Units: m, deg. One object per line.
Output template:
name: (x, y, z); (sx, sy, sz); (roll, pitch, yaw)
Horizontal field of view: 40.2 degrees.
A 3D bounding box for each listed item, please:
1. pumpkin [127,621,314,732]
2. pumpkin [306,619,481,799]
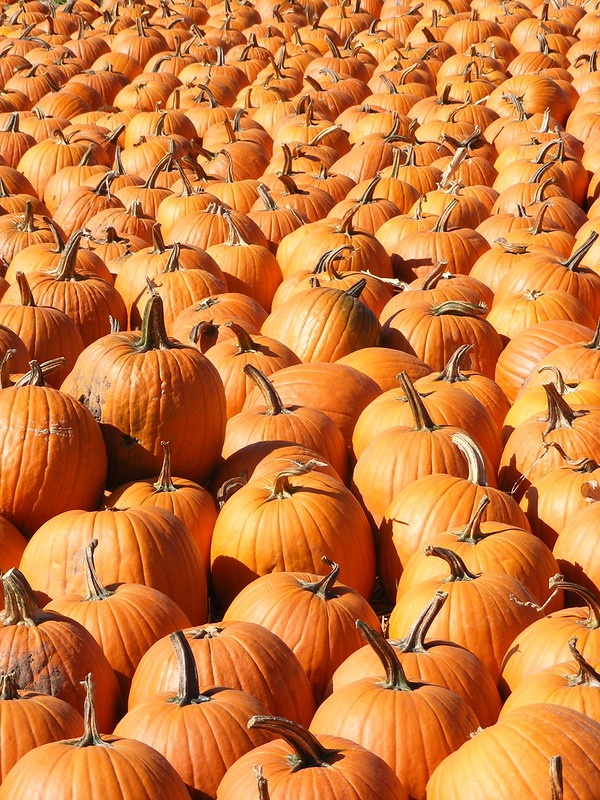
pumpkin: (-0.223, 0.701, 2.302); (0.339, 0.339, 0.352); (-11, -14, 30)
pumpkin: (0.241, 0.757, 2.151); (0.404, 0.440, 0.410); (7, 11, 29)
